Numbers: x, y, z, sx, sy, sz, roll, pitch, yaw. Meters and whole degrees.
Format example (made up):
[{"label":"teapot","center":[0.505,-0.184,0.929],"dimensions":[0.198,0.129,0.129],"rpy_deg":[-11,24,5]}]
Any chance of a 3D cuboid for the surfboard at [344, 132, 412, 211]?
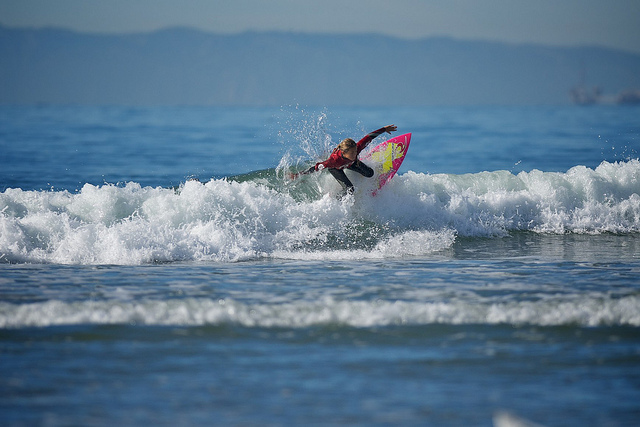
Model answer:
[{"label":"surfboard","center":[1.601,-1.201,31.810],"dimensions":[3.120,0.442,0.917],"rpy_deg":[-38,89,-27]}]
